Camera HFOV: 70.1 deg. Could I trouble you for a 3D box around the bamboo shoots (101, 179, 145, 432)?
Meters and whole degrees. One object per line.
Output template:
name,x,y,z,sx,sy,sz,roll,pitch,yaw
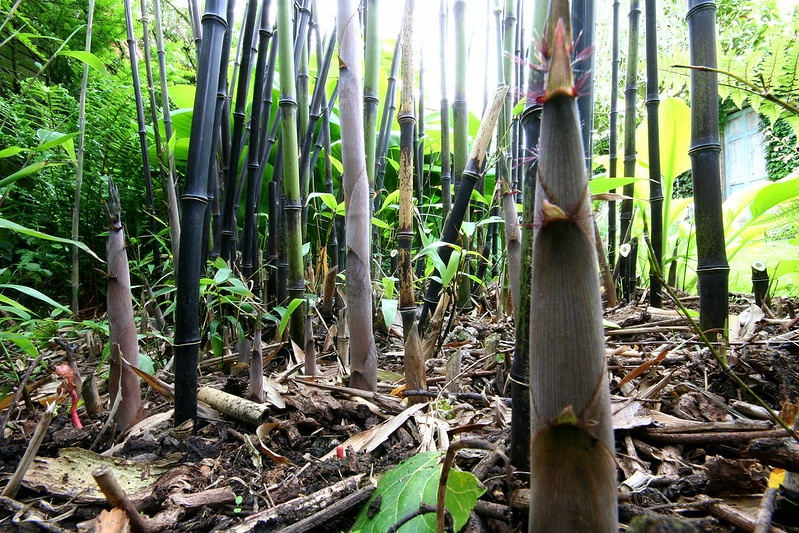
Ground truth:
bamboo shoots,-0.808,0.117,1.665,0.091,0.735,0.131,-2,5,-28
